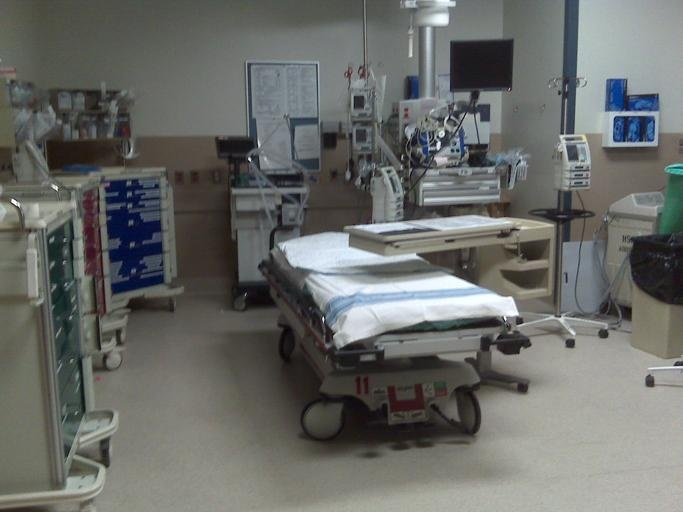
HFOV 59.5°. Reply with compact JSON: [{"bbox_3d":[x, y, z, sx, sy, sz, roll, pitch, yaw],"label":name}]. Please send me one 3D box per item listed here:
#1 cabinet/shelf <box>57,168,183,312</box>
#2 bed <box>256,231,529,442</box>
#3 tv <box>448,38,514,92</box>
[{"bbox_3d":[-1.672,-0.135,5.460,0.979,1.256,0.922,-1,7,13],"label":"cabinet/shelf"},{"bbox_3d":[0.157,0.400,3.812,1.043,0.914,1.981,2,11,-16],"label":"bed"},{"bbox_3d":[1.069,-1.452,4.562,0.495,0.405,0.062,-1,4,2],"label":"tv"}]
